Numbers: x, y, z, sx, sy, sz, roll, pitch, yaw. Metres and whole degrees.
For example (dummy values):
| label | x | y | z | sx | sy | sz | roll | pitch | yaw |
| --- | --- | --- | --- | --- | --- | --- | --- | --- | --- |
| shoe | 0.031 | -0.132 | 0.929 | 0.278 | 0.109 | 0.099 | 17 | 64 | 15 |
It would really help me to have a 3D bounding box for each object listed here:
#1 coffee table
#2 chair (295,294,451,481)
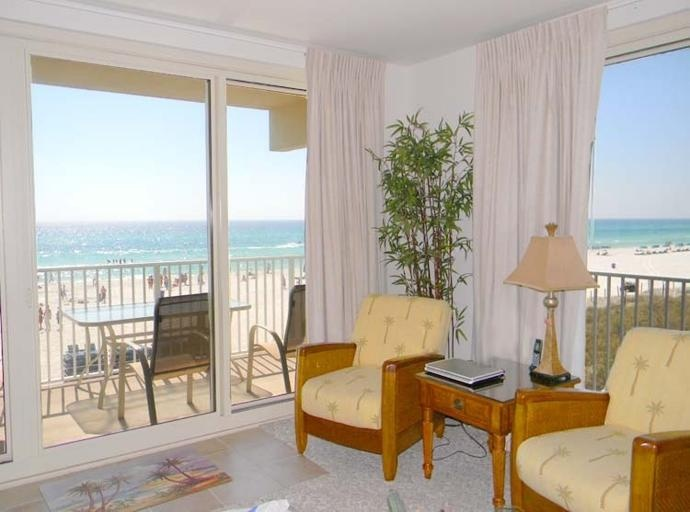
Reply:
| label | x | y | z | sx | sy | sz | roll | pitch | yaw |
| --- | --- | --- | --- | --- | --- | --- | --- | --- | --- |
| coffee table | 0.980 | 0.984 | 3.389 | 0.887 | 0.851 | 0.807 | -6 | 8 | -39 |
| chair | 0.217 | 0.883 | 3.760 | 0.891 | 1.055 | 1.010 | 0 | 4 | 38 |
